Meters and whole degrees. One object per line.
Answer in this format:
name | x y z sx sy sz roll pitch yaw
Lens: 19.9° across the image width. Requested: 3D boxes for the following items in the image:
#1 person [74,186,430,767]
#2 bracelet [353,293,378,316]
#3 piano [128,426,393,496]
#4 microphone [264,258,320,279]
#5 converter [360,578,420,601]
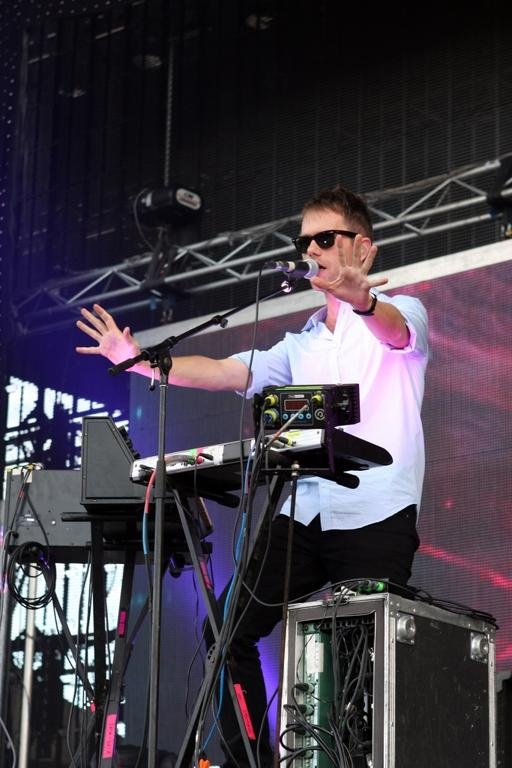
person | 0.048 0.237 4.175 0.817 1.686 0.872 1 -8 14
bracelet | 0.299 -0.206 3.895 0.068 0.067 0.045 -2 6 -30
piano | 0.001 0.209 3.921 0.636 0.156 0.326 -3 -10 33
microphone | 0.115 -0.322 4.002 0.184 0.050 0.055 2 -36 -32
converter | 0.339 0.537 3.851 0.085 0.027 0.107 4 -3 -18
